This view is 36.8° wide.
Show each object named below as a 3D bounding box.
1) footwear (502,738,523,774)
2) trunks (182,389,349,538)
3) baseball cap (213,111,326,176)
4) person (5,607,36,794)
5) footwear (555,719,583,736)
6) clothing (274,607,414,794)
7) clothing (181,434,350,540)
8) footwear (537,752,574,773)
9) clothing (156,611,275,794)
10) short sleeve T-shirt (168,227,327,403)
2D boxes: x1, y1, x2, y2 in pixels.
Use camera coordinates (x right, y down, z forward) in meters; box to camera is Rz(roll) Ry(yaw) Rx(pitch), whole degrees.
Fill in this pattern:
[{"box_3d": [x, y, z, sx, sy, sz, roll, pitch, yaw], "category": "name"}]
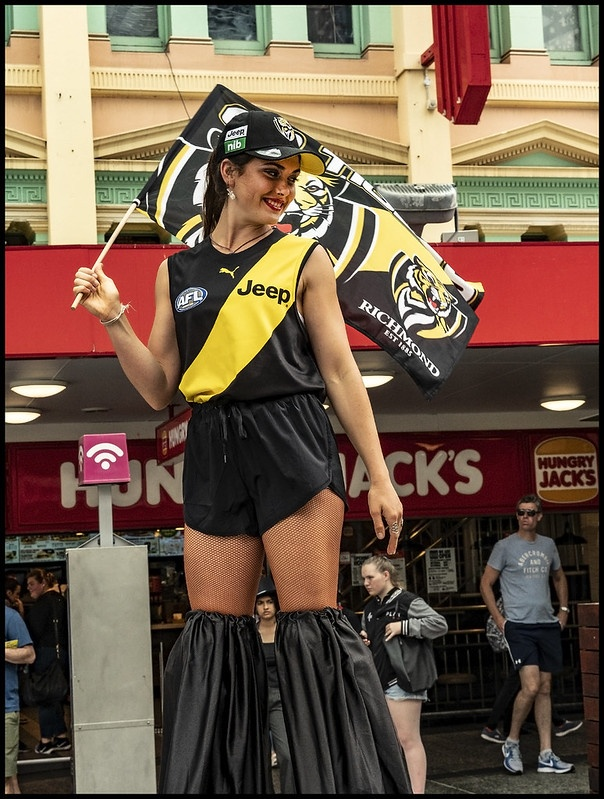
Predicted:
[{"box_3d": [1.737, 2.910, 7.433, 0.151, 0.233, 0.405, -3, -1, 13], "category": "footwear"}, {"box_3d": [-0.085, 0.148, 2.056, 0.328, 0.248, 0.178, -9, -18, 17], "category": "trunks"}, {"box_3d": [-0.073, -0.634, 2.216, 0.294, 0.137, 0.187, 10, 6, 42], "category": "baseball cap"}, {"box_3d": [-2.179, 2.411, 6.984, 0.238, 1.474, 0.823, -2, -2, -17], "category": "person"}, {"box_3d": [2.703, 3.325, 9.180, 0.255, 0.105, 0.081, -22, 5, 3], "category": "footwear"}, {"box_3d": [0.091, 0.671, 1.962, 0.281, 0.426, 0.196, -3, -2, 0], "category": "clothing"}, {"box_3d": [-0.121, 0.178, 2.134, 0.343, 0.277, 0.188, -21, -17, 24], "category": "clothing"}, {"box_3d": [2.048, 2.907, 7.296, 0.293, 0.149, 0.227, -3, -1, 11], "category": "footwear"}, {"box_3d": [-0.199, 0.669, 1.995, 0.245, 0.388, 0.222, -3, -1, -4], "category": "clothing"}, {"box_3d": [-0.122, -0.190, 2.148, 0.429, 0.425, 0.252, -5, -11, 14], "category": "short sleeve T-shirt"}]
